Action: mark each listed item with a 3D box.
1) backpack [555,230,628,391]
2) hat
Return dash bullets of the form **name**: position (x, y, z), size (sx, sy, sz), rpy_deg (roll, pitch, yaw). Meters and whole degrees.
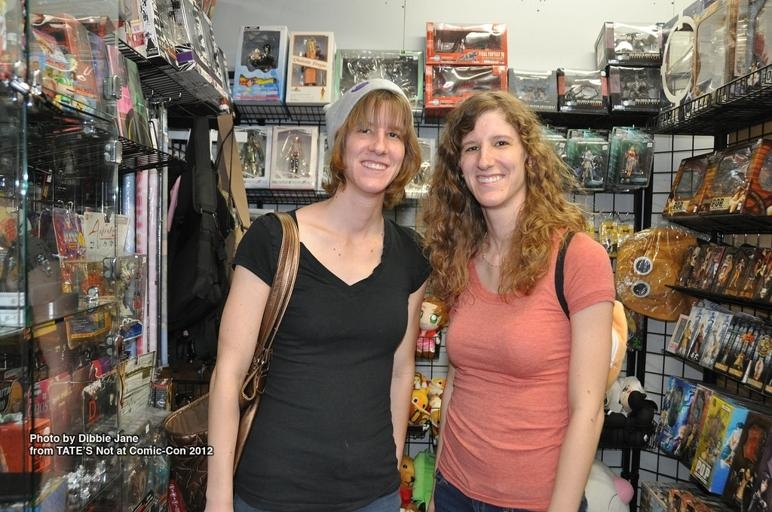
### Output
- **backpack**: position (0.845, 0.230, 2.314), size (0.190, 0.567, 0.397), rpy_deg (-2, -9, 31)
- **hat**: position (-0.088, -0.597, 2.378), size (0.253, 0.333, 0.196), rpy_deg (-3, 45, -29)
